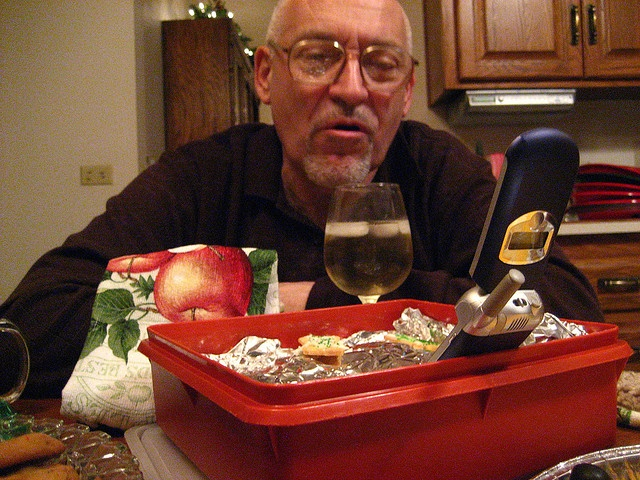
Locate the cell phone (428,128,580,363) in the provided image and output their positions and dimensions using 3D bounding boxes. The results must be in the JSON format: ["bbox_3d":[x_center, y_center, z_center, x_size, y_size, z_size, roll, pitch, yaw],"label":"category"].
[{"bbox_3d":[0.174,0.008,0.466,0.096,0.214,0.076,-11,16,-42],"label":"cell phone"}]

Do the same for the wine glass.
[{"bbox_3d":[0.065,0.003,0.684,0.118,0.156,0.064,0,11,6],"label":"wine glass"}]

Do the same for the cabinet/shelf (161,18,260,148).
[{"bbox_3d":[-0.631,-0.923,2.722,0.246,0.653,0.676,2,37,-8],"label":"cabinet/shelf"}]

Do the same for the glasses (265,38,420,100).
[{"bbox_3d":[0.032,-0.351,1.017,0.311,0.122,0.191,1,11,8],"label":"glasses"}]
